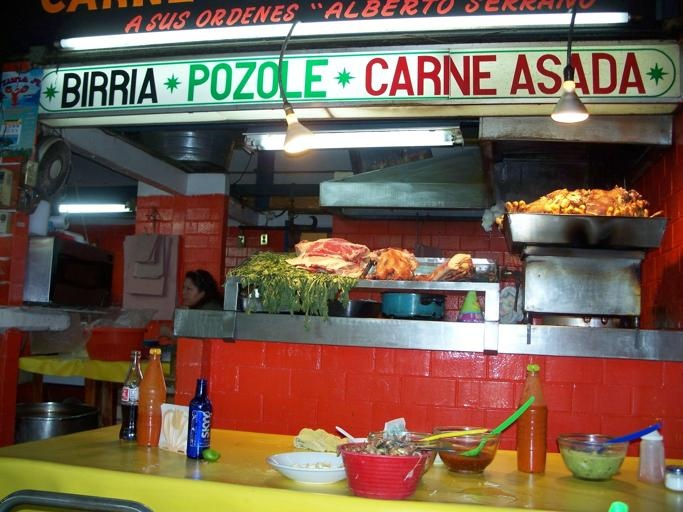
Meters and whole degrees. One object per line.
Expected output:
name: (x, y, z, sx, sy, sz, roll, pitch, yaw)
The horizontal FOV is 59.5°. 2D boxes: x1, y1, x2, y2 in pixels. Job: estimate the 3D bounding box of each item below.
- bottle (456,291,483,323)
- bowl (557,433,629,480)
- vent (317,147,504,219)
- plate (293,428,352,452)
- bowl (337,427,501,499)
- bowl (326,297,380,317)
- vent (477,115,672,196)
bottle: (0.666, 0.267, 3.106, 0.129, 0.161, 0.203, -1, -10, 11)
bowl: (1.019, 0.812, 2.430, 0.299, 0.138, 0.275, -4, -7, 0)
vent: (0.678, -0.630, 5.500, 1.399, 0.456, 1.331, 1, 1, 22)
plate: (-0.103, 0.780, 2.537, 0.175, 0.045, 0.127, 2, -9, 7)
bowl: (0.212, 0.770, 2.255, 0.346, 0.196, 0.473, -5, -11, 34)
bowl: (0.098, 0.285, 3.207, 0.336, 0.100, 0.149, 6, -11, -32)
vent: (1.554, -0.737, 4.107, 1.160, 0.261, 0.715, -1, -9, 12)
